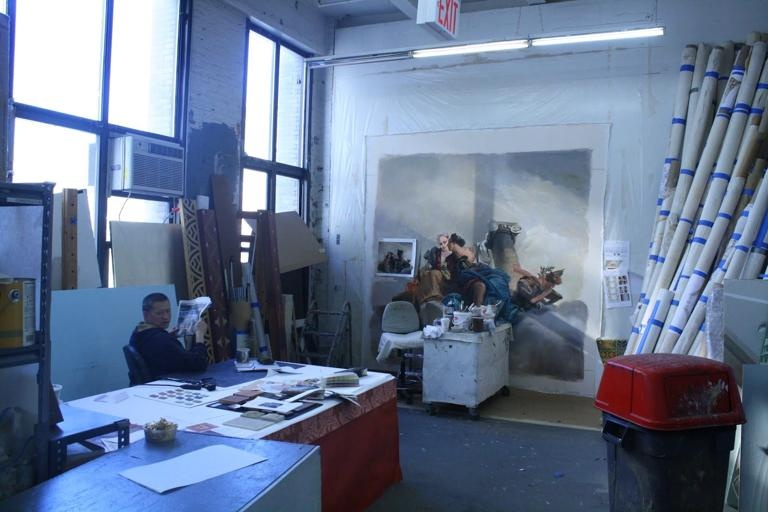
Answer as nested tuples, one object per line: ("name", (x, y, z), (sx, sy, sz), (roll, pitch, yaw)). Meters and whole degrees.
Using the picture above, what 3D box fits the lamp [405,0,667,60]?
("lamp", (1.846, -2.719, 6.998), (3.313, 0.349, 1.270), (3, 5, 18))

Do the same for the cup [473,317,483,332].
("cup", (1.102, 0.805, 6.381), (0.148, 0.167, 0.148), (0, 1, 0))

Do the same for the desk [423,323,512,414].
("desk", (1.063, 1.329, 6.899), (0.871, 0.894, 1.439), (0, 0, 32))

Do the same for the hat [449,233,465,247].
("hat", (1.062, -0.236, 7.832), (0.199, 0.207, 0.160), (-5, -6, 31))

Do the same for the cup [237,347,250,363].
("cup", (-1.249, 0.873, 4.777), (0.118, 0.113, 0.118), (0, -1, 0))

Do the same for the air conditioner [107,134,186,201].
("air conditioner", (-2.686, -1.016, 6.166), (0.299, 0.668, 0.841), (2, 2, 20))

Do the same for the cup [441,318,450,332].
("cup", (0.724, 0.801, 6.363), (0.124, 0.143, 0.131), (-2, -1, 0))

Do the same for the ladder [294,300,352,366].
("ladder", (-0.918, 1.298, 8.179), (0.813, 1.223, 0.836), (0, 3, 6))

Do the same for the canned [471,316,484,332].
("canned", (1.106, 0.799, 6.382), (0.162, 0.182, 0.163), (2, 1, 11))

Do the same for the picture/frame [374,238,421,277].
("picture/frame", (0.232, 0.014, 8.120), (0.575, 0.528, 0.061), (1, -3, 21))
